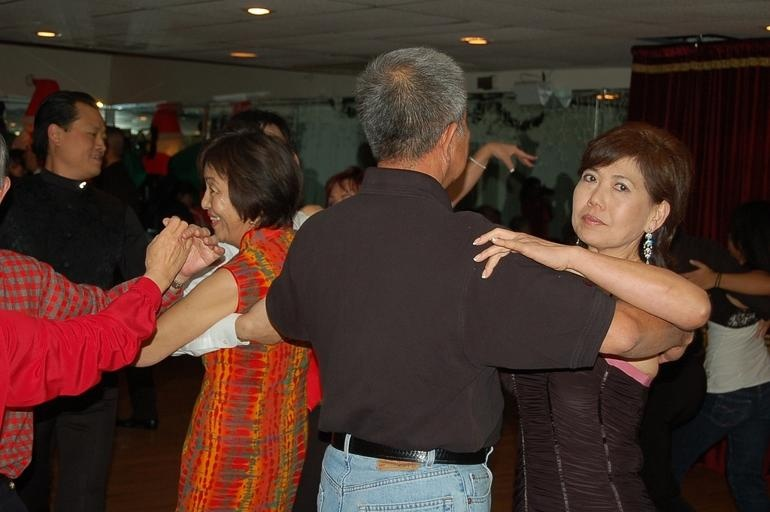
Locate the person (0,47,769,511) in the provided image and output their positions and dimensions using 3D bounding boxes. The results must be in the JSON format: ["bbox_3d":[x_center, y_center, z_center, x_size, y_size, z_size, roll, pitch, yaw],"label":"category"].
[{"bbox_3d":[0.155,0.121,1.889,1.302,1.507,0.391,5,10,23],"label":"person"}]

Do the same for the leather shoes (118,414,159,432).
[{"bbox_3d":[-2.117,1.416,5.184,0.356,0.142,0.127,7,0,3],"label":"leather shoes"}]
